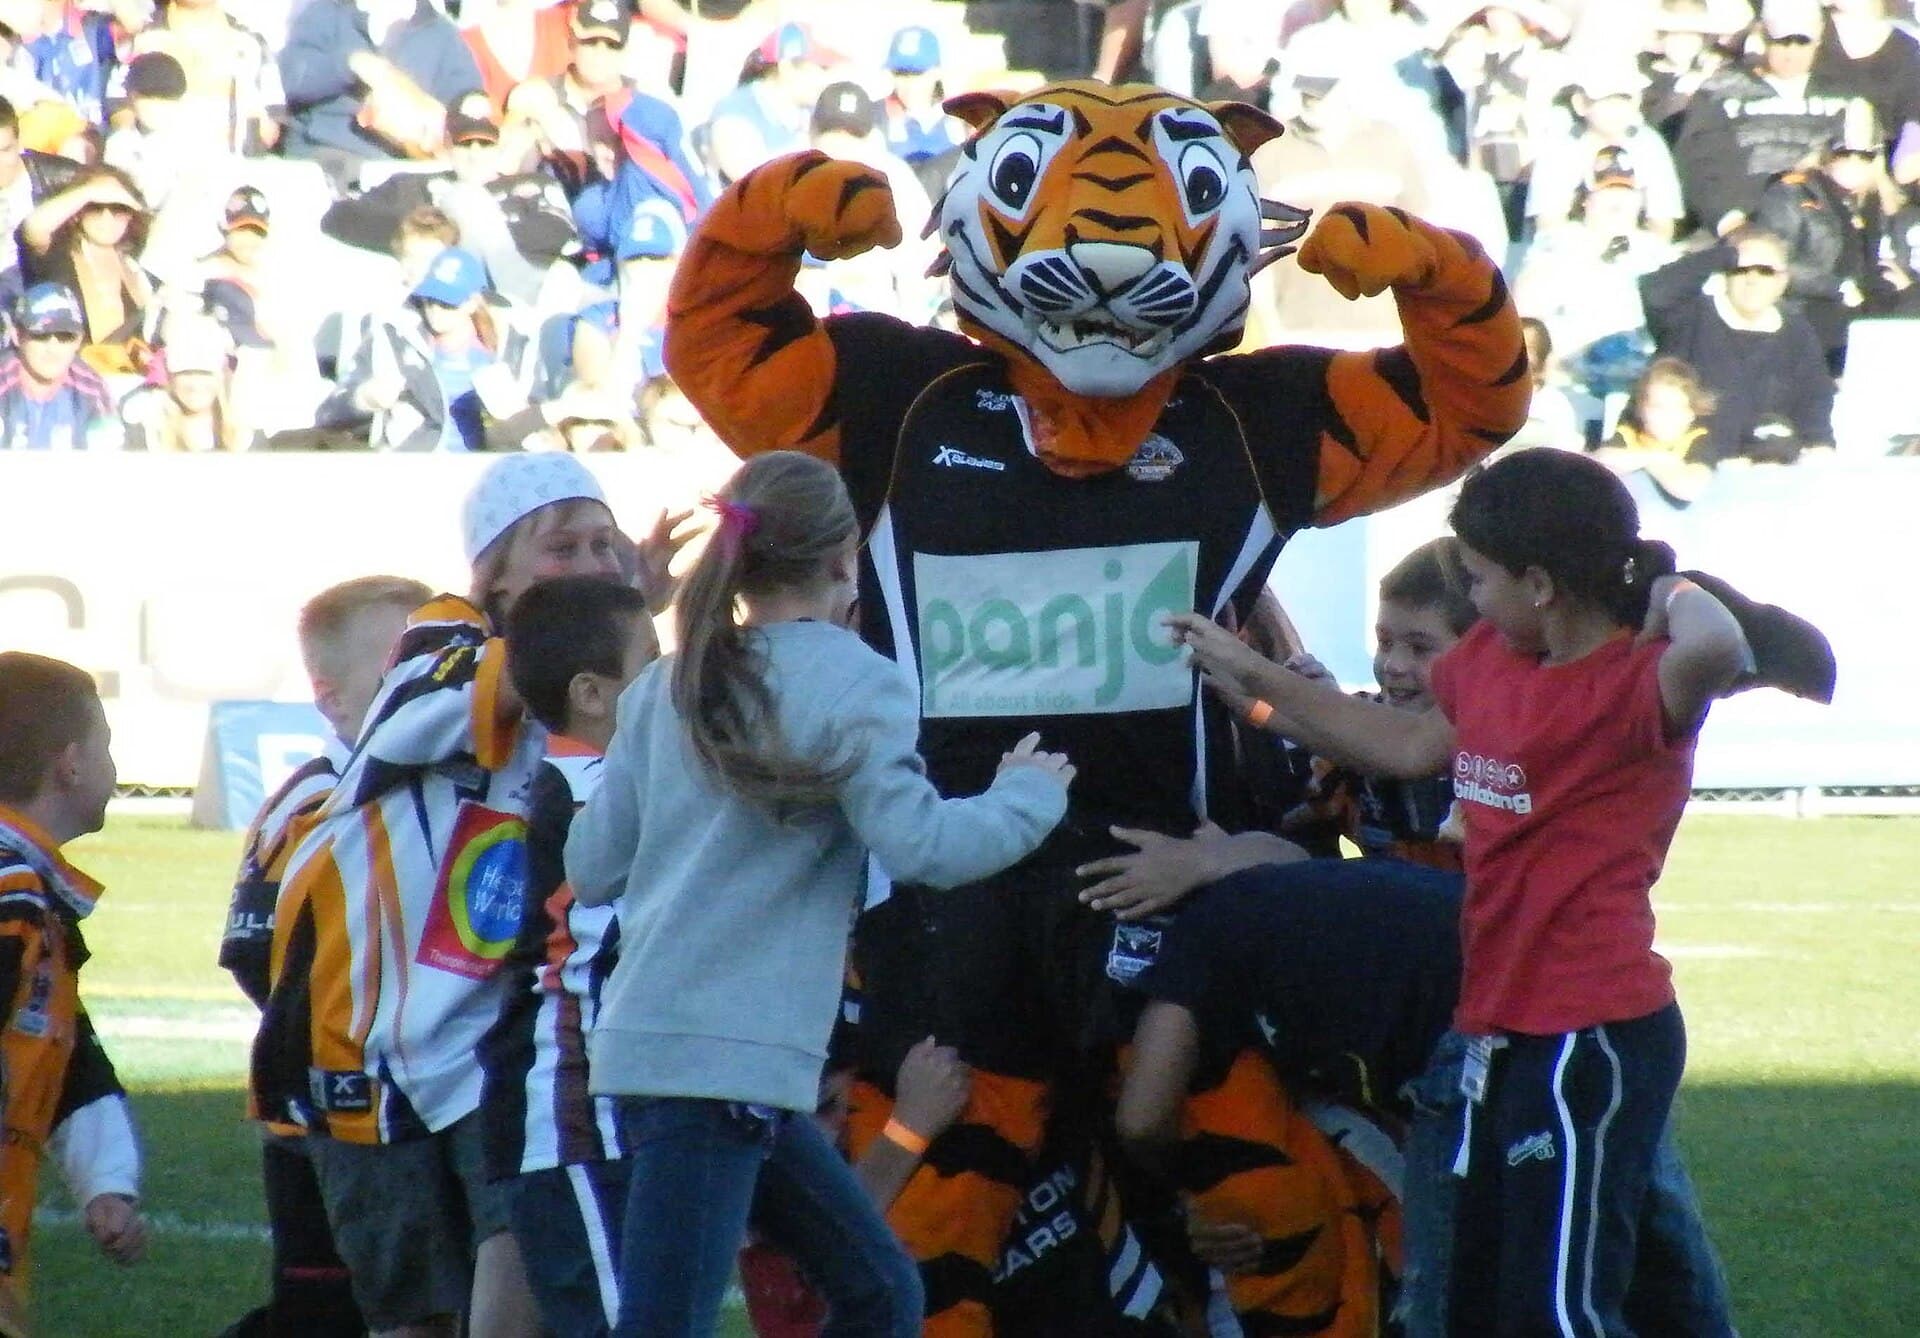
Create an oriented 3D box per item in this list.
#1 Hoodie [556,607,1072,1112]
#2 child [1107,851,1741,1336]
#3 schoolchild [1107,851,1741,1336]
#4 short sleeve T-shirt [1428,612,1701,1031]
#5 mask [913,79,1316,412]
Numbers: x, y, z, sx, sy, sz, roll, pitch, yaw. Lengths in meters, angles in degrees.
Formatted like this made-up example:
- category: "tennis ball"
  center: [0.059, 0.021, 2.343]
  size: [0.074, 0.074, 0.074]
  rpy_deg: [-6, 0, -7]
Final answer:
- category: "Hoodie"
  center: [-0.373, 0.484, 7.765]
  size: [1.478, 1.182, 0.768]
  rpy_deg: [4, -3, 44]
- category: "child"
  center: [0.826, 1.122, 7.853]
  size: [1.528, 1.204, 0.524]
  rpy_deg: [6, 6, 9]
- category: "schoolchild"
  center: [0.994, 1.021, 8.507]
  size: [1.528, 1.204, 0.524]
  rpy_deg: [6, 6, 9]
- category: "short sleeve T-shirt"
  center: [1.460, 0.406, 7.773]
  size: [0.588, 0.997, 0.293]
  rpy_deg: [4, 4, 23]
- category: "mask"
  center: [0.277, -1.104, 8.419]
  size: [1.563, 0.876, 0.787]
  rpy_deg: [3, 3, -3]
